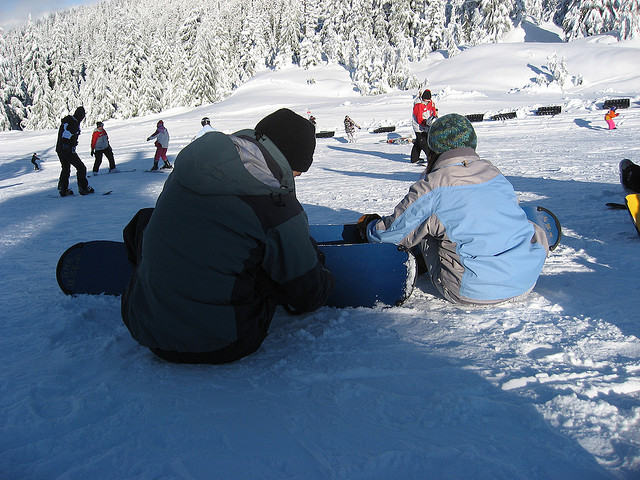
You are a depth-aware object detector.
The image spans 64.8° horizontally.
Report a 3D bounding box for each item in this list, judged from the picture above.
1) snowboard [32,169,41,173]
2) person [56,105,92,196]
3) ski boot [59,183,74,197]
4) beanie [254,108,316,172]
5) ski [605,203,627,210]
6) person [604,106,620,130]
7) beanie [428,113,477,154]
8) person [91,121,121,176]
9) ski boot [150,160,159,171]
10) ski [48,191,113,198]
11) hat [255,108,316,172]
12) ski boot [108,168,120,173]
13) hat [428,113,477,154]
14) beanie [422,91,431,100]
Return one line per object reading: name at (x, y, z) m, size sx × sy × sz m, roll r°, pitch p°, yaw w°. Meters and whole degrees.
snowboard at (-7.738, -1.911, 13.757) m, size 0.174 × 0.050 × 0.845 m, roll -14°, pitch 21°, yaw -30°
person at (-4.247, -1.521, 8.590) m, size 0.647 × 1.402 × 0.955 m, roll -12°, pitch 21°, yaw -21°
ski boot at (-4.271, -0.835, 8.418) m, size 0.135 × 0.151 × 0.292 m, roll 2°, pitch 2°, yaw 25°
beanie at (-0.188, -0.590, 3.031) m, size 0.387 × 0.384 × 0.286 m, roll -7°, pitch 20°, yaw -11°
ski at (3.299, -0.390, 5.629) m, size 0.145 × 0.041 × 0.261 m, roll -2°, pitch 18°, yaw 3°
person at (8.124, -3.409, 13.976) m, size 0.293 × 0.578 × 1.195 m, roll 7°, pitch 21°, yaw 28°
beanie at (0.921, -0.775, 3.595) m, size 0.289 × 0.277 × 0.343 m, roll -15°, pitch 22°, yaw -38°
person at (-4.998, -2.122, 11.530) m, size 0.604 × 1.242 × 1.461 m, roll -11°, pitch 21°, yaw -20°
ski boot at (-3.951, -1.803, 11.987) m, size 0.211 × 0.240 × 0.339 m, roll -9°, pitch 20°, yaw -16°
ski at (-4.027, -0.783, 8.515) m, size 0.999 × 0.071 × 0.127 m, roll -4°, pitch 47°, yaw -5°
hat at (-0.142, -0.651, 3.124) m, size 0.354 × 0.374 × 0.365 m, roll 8°, pitch 22°, yaw 18°
ski boot at (-4.811, -1.651, 11.825) m, size 0.123 × 0.116 × 0.282 m, roll 11°, pitch 23°, yaw 36°
hat at (0.931, -0.756, 3.544) m, size 0.276 × 0.259 × 0.336 m, roll 0°, pitch 18°, yaw 1°
beanie at (2.280, -3.104, 10.744) m, size 0.164 × 0.174 × 0.367 m, roll -1°, pitch 19°, yaw 8°
